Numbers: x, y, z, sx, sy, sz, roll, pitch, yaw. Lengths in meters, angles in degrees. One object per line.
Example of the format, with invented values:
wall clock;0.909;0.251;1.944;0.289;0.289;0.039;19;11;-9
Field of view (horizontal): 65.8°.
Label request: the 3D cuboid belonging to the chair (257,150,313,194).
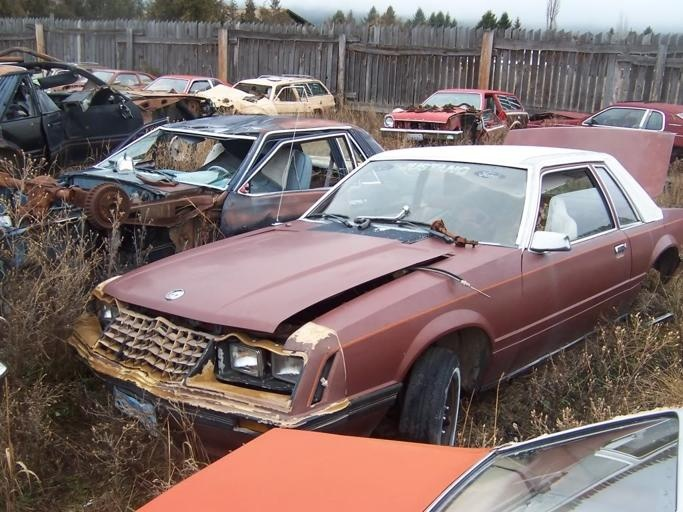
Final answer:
chair;-0.606;-0.900;5.736;0.515;0.417;0.529;-16;31;-33
